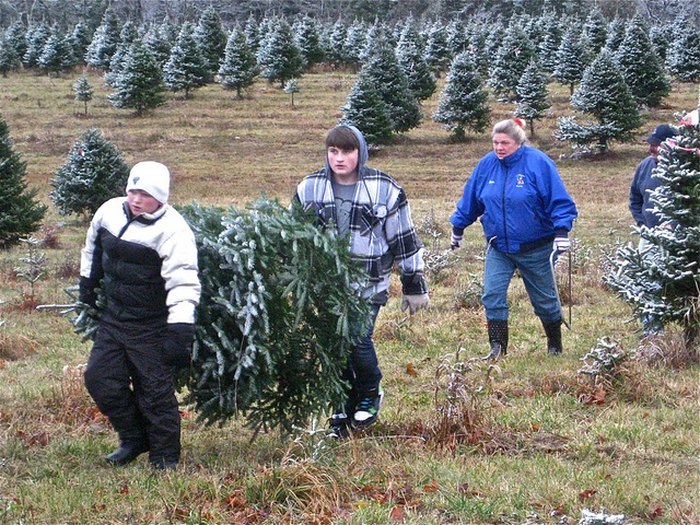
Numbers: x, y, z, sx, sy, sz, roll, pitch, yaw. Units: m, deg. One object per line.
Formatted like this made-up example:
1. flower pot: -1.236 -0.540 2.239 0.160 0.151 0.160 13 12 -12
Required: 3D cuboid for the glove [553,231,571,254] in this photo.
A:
1. glove: 8.159 -0.742 58.953 0.556 0.802 0.295 6 42 7
